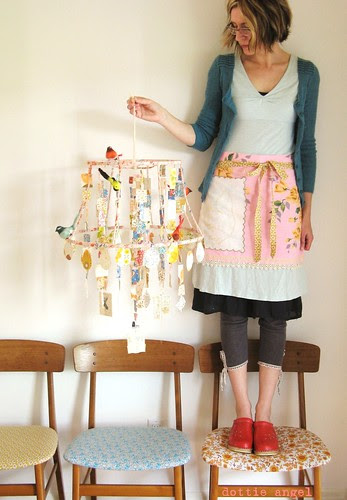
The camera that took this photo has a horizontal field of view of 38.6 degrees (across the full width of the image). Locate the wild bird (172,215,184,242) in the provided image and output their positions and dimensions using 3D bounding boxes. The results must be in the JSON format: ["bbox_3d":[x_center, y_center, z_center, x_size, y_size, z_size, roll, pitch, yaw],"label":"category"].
[{"bbox_3d":[0.013,-0.068,1.492,0.028,0.085,0.026,16,-30,16],"label":"wild bird"}]

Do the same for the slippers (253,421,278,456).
[{"bbox_3d":[0.306,0.623,1.643,0.083,0.078,0.118,2,1,9],"label":"slippers"}]

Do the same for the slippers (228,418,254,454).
[{"bbox_3d":[0.223,0.618,1.652,0.080,0.081,0.115,2,1,7],"label":"slippers"}]
